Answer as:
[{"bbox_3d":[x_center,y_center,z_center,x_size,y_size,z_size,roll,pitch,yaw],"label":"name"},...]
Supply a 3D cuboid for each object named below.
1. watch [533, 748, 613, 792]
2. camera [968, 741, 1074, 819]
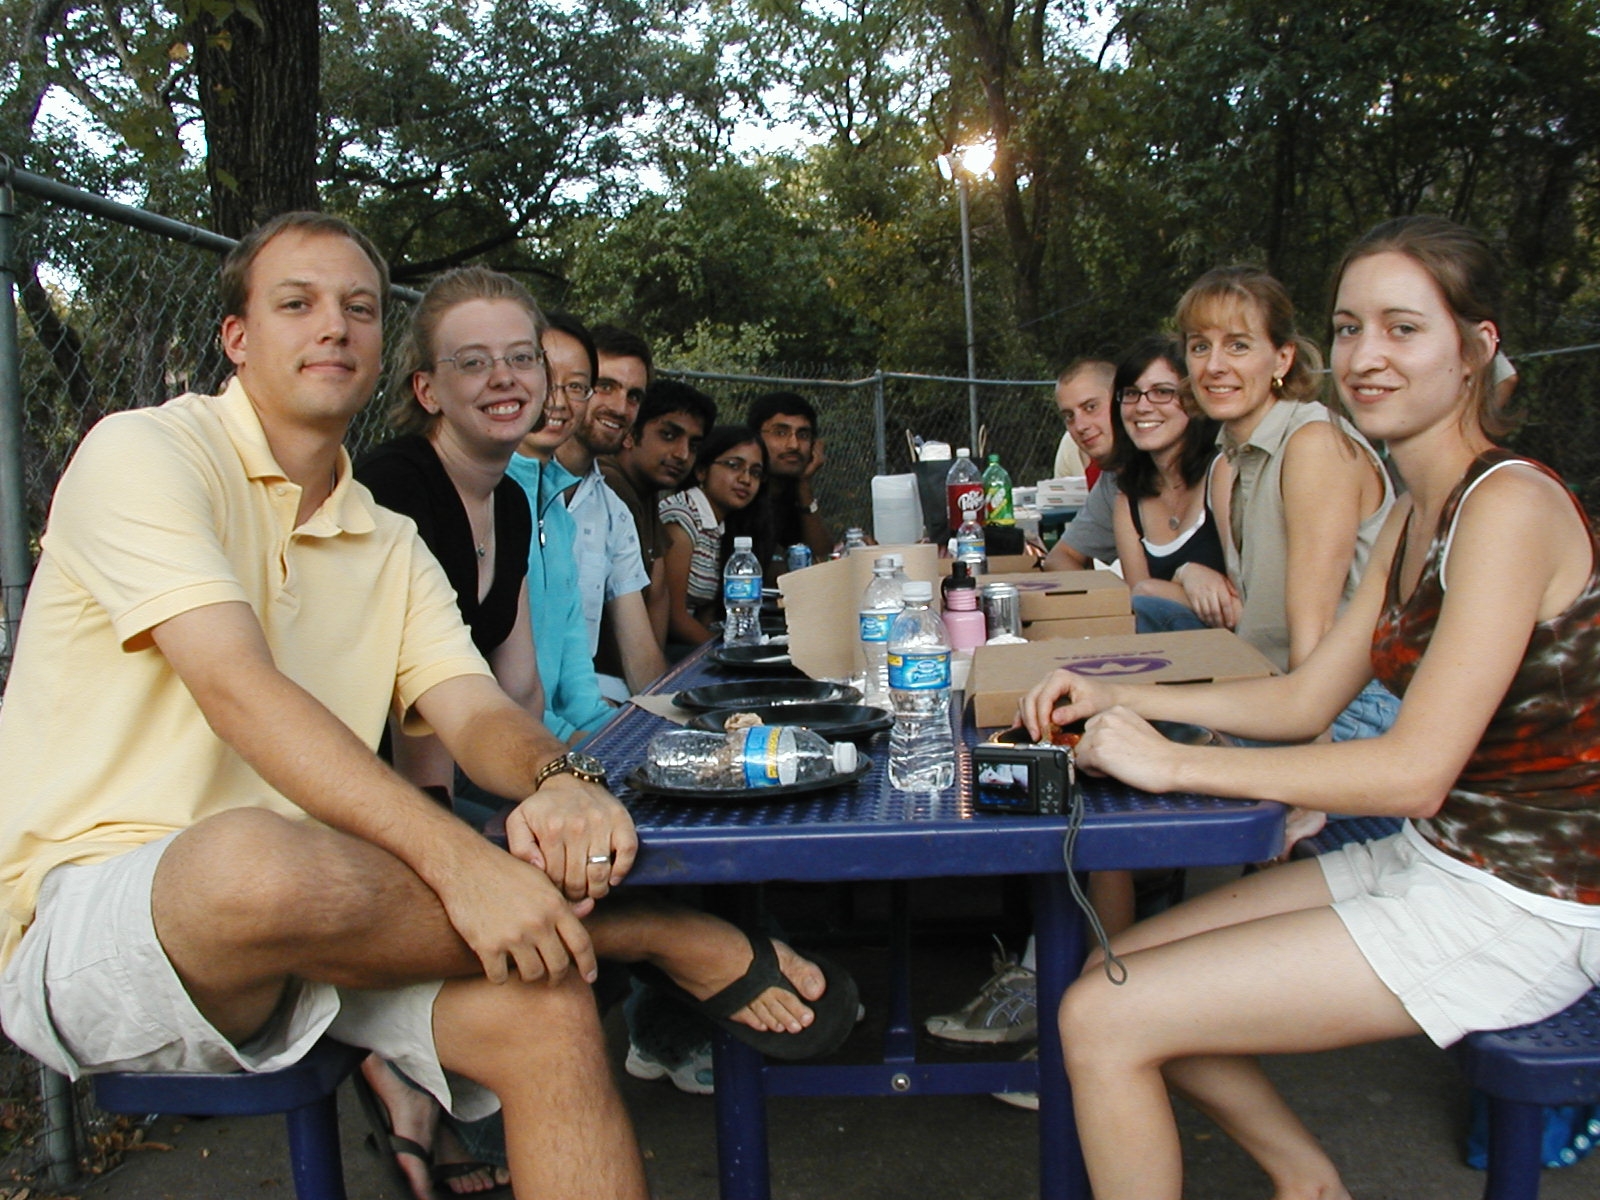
[{"bbox_3d":[-0.409,0.305,2.330,0.109,0.106,0.072,7,24,11],"label":"watch"},{"bbox_3d":[0.361,0.289,2.098,0.158,0.103,0.122,-1,8,15],"label":"camera"}]
